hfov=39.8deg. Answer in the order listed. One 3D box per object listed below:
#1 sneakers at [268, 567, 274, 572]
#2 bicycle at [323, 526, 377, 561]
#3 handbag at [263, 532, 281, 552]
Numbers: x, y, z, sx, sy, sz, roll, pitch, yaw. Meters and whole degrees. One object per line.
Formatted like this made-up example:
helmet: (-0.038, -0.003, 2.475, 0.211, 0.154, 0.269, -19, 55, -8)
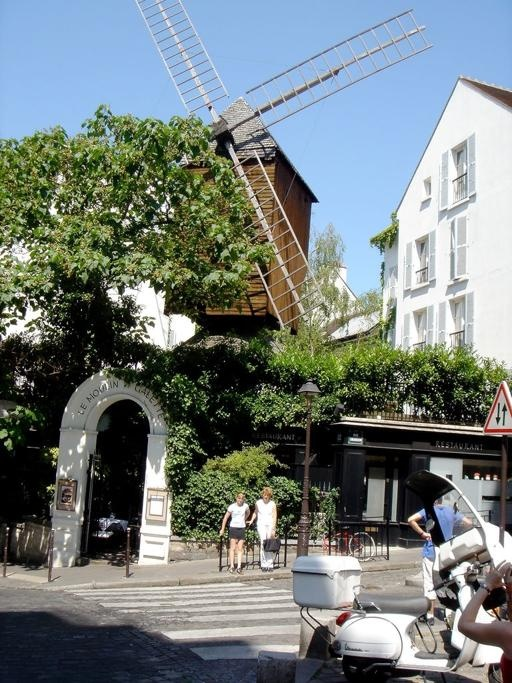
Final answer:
sneakers: (0.279, 4.709, 14.578, 0.042, 0.090, 0.130, 1, -1, 24)
bicycle: (2.332, 5.040, 17.532, 1.449, 0.908, 0.735, 1, -8, -14)
handbag: (0.284, 4.118, 14.581, 0.414, 0.386, 0.257, 1, -16, -3)
